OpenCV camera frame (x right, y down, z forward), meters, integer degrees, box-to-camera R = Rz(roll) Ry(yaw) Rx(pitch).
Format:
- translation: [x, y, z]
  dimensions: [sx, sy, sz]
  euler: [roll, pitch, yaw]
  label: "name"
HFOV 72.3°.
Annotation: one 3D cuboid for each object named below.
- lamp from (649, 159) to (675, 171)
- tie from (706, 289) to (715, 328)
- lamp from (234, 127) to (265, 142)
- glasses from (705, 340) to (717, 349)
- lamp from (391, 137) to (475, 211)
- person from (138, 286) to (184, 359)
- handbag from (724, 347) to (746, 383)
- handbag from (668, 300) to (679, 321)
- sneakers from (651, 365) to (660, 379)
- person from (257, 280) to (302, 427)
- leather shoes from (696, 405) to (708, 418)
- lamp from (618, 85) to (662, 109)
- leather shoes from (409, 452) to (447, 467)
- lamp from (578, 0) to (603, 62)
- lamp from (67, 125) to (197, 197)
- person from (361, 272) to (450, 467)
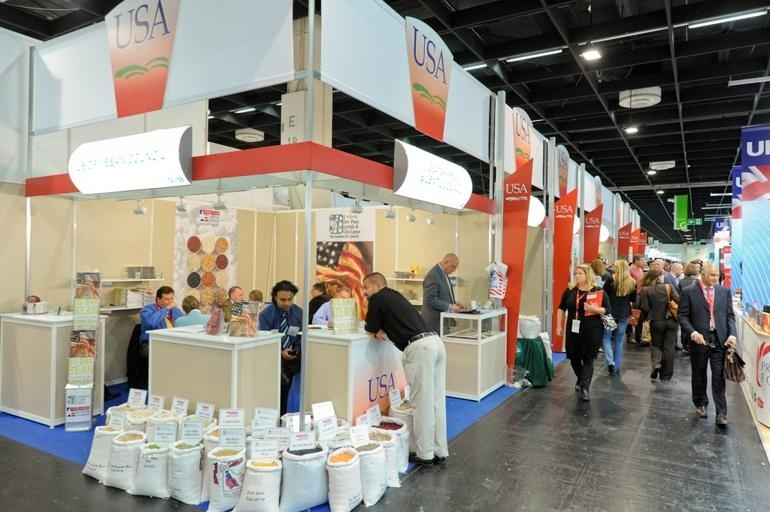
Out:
- translation: [8.089, -2.656, 15.355]
  dimensions: [0.612, 0.263, 1.997]
  euler: [6, 11, 26]
  label: "lamp"
- translation: [4.152, 0.664, 6.683]
  dimensions: [0.041, 0.495, 0.137]
  euler: [-1, 9, -12]
  label: "tie"
- translation: [-3.451, -3.080, 13.383]
  dimensions: [0.736, 0.316, 0.632]
  euler: [9, 13, 40]
  label: "lamp"
- translation: [4.151, 1.126, 6.681]
  dimensions: [0.026, 0.070, 0.110]
  euler: [0, 5, -31]
  label: "glasses"
- translation: [0.615, -1.017, 6.776]
  dimensions: [0.226, 0.843, 1.404]
  euler: [9, 13, 41]
  label: "lamp"
- translation: [-3.258, 0.991, 7.647]
  dimensions: [0.608, 1.085, 0.780]
  euler: [-4, 10, -27]
  label: "person"
- translation: [4.321, 1.346, 6.481]
  dimensions: [0.227, 0.412, 0.219]
  euler: [7, 12, 36]
  label: "handbag"
- translation: [4.425, 0.838, 8.052]
  dimensions: [0.126, 0.290, 0.285]
  euler: [-13, -6, 44]
  label: "handbag"
- translation: [4.338, 1.855, 8.416]
  dimensions: [0.107, 0.265, 0.110]
  euler: [10, 11, 29]
  label: "sneakers"
- translation: [-1.281, 1.131, 6.521]
  dimensions: [0.557, 1.617, 0.528]
  euler: [1, 9, 1]
  label: "person"
- translation: [4.239, 2.073, 6.996]
  dimensions: [0.079, 0.096, 0.222]
  euler: [-3, -9, 28]
  label: "leather shoes"
- translation: [5.024, -3.081, 10.279]
  dimensions: [0.544, 0.220, 0.562]
  euler: [-1, 0, 17]
  label: "lamp"
- translation: [0.488, 2.274, 5.900]
  dimensions: [0.385, 0.174, 0.145]
  euler: [7, 1, 18]
  label: "leather shoes"
- translation: [3.457, -3.809, 8.842]
  dimensions: [0.451, 1.191, 0.391]
  euler: [7, 39, 24]
  label: "lamp"
- translation: [-3.018, -1.148, 6.177]
  dimensions: [0.258, 0.706, 1.762]
  euler: [13, 16, 16]
  label: "lamp"
- translation: [0.287, 1.248, 5.999]
  dimensions: [0.966, 2.010, 0.447]
  euler: [7, 11, 33]
  label: "person"
